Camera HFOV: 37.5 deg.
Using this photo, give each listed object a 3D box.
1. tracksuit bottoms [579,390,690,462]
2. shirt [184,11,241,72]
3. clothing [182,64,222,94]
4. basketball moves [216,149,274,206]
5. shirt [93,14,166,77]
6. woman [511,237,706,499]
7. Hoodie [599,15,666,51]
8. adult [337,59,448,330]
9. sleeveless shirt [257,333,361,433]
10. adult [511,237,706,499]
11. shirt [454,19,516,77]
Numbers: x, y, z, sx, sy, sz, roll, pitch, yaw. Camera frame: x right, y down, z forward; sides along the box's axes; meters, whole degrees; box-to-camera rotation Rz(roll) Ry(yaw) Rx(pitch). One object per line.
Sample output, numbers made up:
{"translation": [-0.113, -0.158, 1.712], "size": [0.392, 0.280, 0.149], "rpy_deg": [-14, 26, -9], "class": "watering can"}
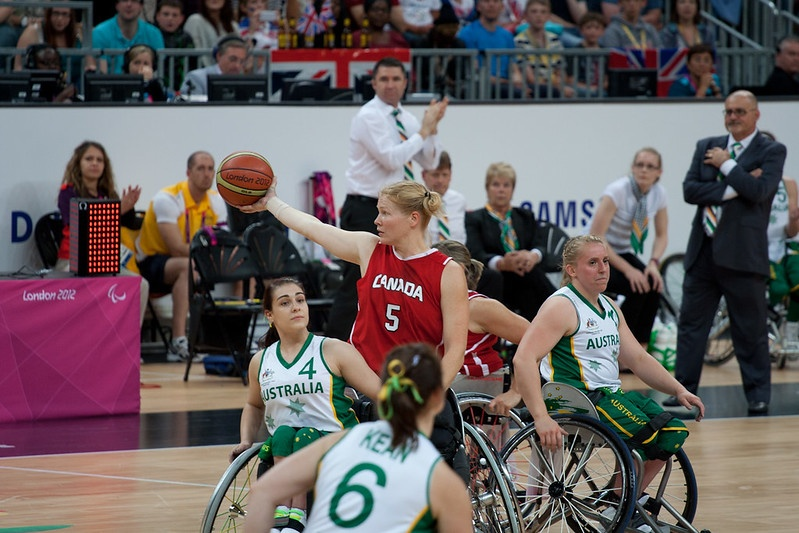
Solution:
{"translation": [1.742, 1.139, 8.816], "size": [0.768, 0.317, 0.428], "rpy_deg": [36, 10, 10], "class": "tracksuit bottoms"}
{"translation": [-2.357, -2.758, 14.548], "size": [0.789, 0.814, 0.412], "rpy_deg": [-10, 1, -39], "class": "shirt"}
{"translation": [-2.343, -2.207, 13.938], "size": [0.396, 0.389, 0.226], "rpy_deg": [-1, -1, -12], "class": "clothing"}
{"translation": [-1.160, -0.703, 8.855], "size": [0.373, 0.410, 0.383], "rpy_deg": [2, 12, -9], "class": "basketball moves"}
{"translation": [-3.274, -2.641, 14.222], "size": [0.892, 0.808, 0.509], "rpy_deg": [-1, -4, -14], "class": "shirt"}
{"translation": [1.548, 0.835, 8.771], "size": [1.101, 2.193, 1.029], "rpy_deg": [1, 5, 32], "class": "woman"}
{"translation": [3.065, -3.105, 15.715], "size": [0.570, 0.538, 0.309], "rpy_deg": [3, -26, -15], "class": "Hoodie"}
{"translation": [-0.076, -0.465, 11.772], "size": [0.902, 3.273, 0.822], "rpy_deg": [12, 15, 36], "class": "adult"}
{"translation": [-0.628, 0.817, 8.247], "size": [0.491, 0.665, 0.351], "rpy_deg": [-11, -11, 19], "class": "sleeveless shirt"}
{"translation": [1.590, 0.824, 8.801], "size": [1.219, 2.189, 1.004], "rpy_deg": [0, 5, 19], "class": "adult"}
{"translation": [1.088, -2.797, 15.210], "size": [0.905, 0.971, 0.510], "rpy_deg": [-2, -2, -27], "class": "shirt"}
